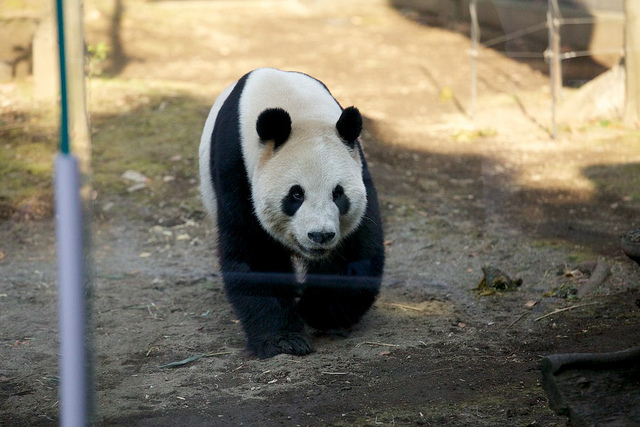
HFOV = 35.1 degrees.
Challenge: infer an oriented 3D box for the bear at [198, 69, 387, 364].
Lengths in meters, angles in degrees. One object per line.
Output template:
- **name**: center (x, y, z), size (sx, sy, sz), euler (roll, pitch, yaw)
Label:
- **bear**: center (-0.307, -0.031, 10.340), size (1.800, 2.095, 3.353), euler (-7, 14, -9)
